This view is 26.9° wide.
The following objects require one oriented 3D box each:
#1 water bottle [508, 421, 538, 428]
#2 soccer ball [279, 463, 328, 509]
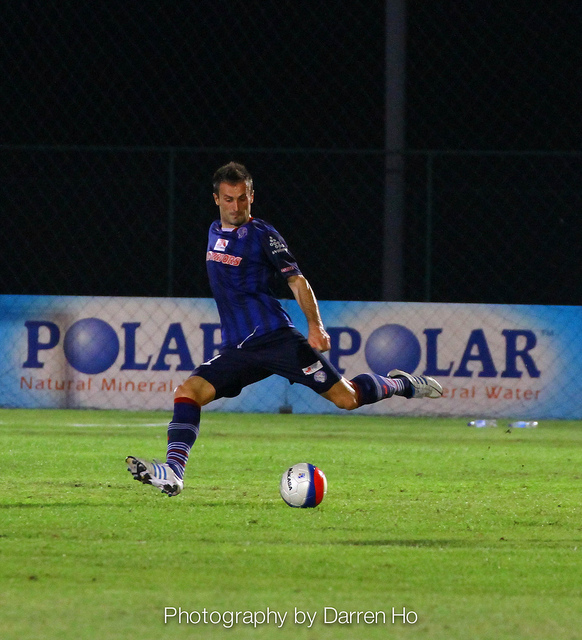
[{"bbox_3d":[1.970,0.871,10.381,0.242,0.039,0.226,1,5,0],"label":"water bottle"},{"bbox_3d":[0.066,0.890,6.625,0.239,0.228,0.129,1,5,-5],"label":"soccer ball"}]
